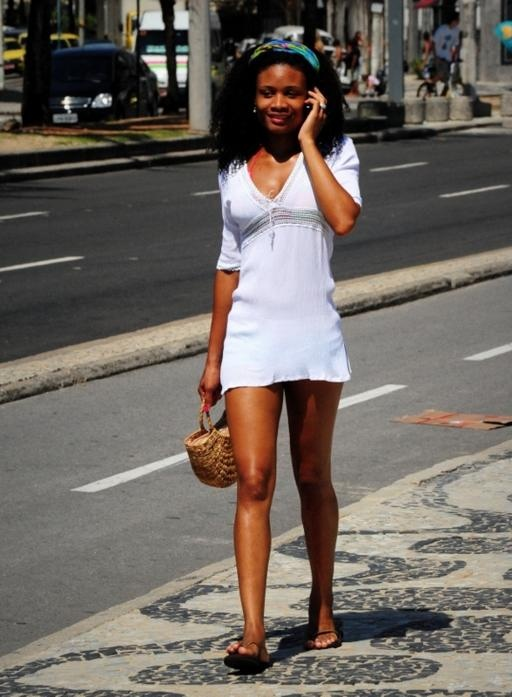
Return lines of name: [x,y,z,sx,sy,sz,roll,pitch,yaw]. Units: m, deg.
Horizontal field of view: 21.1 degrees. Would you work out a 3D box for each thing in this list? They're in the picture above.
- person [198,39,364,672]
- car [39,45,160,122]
person: [0.071,0.004,3.864,0.464,1.715,0.734,-1,8,-2]
car: [-3.347,-5.319,27.409,1.465,1.596,2.888,1,9,8]
